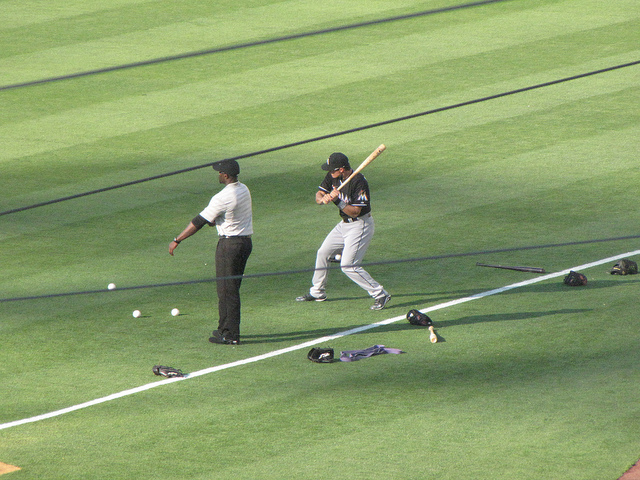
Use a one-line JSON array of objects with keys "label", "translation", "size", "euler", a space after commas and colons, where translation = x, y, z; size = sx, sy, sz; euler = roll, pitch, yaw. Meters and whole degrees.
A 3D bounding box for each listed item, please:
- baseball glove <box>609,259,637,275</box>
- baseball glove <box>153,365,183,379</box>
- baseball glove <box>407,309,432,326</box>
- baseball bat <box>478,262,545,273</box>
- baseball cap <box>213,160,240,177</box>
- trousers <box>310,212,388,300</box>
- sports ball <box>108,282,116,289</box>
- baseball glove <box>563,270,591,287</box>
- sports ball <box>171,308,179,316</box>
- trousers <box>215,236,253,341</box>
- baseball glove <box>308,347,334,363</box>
[{"label": "baseball glove", "translation": [4.906, 0.413, 25.015], "size": [0.246, 0.124, 0.359], "euler": [1, 4, 42]}, {"label": "baseball glove", "translation": [-2.108, 1.832, 22.428], "size": [0.312, 0.073, 0.201], "euler": [10, 7, 22]}, {"label": "baseball glove", "translation": [1.563, 1.139, 23.666], "size": [0.361, 0.093, 0.224], "euler": [16, 19, 15]}, {"label": "baseball bat", "translation": [3.228, 0.431, 25.663], "size": [0.922, 0.079, 0.113], "euler": [5, -16, 32]}, {"label": "baseball cap", "translation": [-1.329, -1.080, 23.550], "size": [0.408, 0.142, 0.242], "euler": [8, 19, 21]}, {"label": "trousers", "translation": [0.439, 0.265, 24.506], "size": [1.077, 1.017, 0.565], "euler": [-10, -4, 29]}, {"label": "sports ball", "translation": [-3.225, 0.696, 24.946], "size": [0.161, 0.107, 0.137], "euler": [1, -5, 24]}, {"label": "baseball glove", "translation": [4.136, 0.584, 24.745], "size": [0.391, 0.107, 0.265], "euler": [-2, 13, -20]}, {"label": "sports ball", "translation": [-2.161, 1.080, 24.301], "size": [0.144, 0.083, 0.108], "euler": [-2, 10, 28]}, {"label": "trousers", "translation": [-1.325, 0.665, 23.761], "size": [0.821, 1.409, 0.735], "euler": [1, -1, -20]}, {"label": "baseball glove", "translation": [0.098, 1.613, 22.628], "size": [0.352, 0.136, 0.216], "euler": [0, 2, -2]}]
